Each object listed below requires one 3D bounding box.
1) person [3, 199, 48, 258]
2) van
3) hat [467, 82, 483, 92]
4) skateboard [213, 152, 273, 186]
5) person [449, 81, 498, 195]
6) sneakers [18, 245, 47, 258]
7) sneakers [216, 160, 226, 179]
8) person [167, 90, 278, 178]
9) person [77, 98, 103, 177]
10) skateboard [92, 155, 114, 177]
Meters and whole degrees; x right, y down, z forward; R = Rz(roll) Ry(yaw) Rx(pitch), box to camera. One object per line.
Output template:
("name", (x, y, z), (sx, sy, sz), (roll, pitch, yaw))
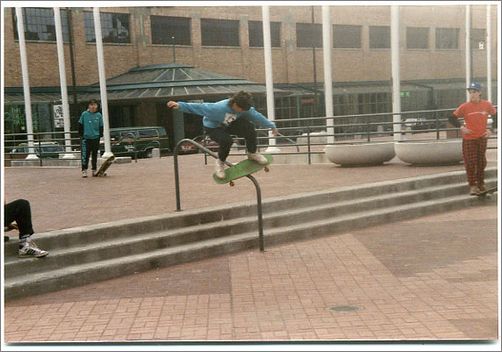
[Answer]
("person", (-3.356, 0.781, 8.841), (0.644, 0.880, 0.227), (-1, 11, 17))
("van", (-5.038, -1.639, 27.969), (3.344, 1.109, 1.519), (-1, 0, -38))
("hat", (4.747, -1.861, 12.608), (0.402, 0.159, 0.238), (-2, 4, -18))
("skateboard", (-0.023, -0.075, 10.913), (1.330, 0.161, 0.414), (-17, 37, 5))
("person", (4.693, -0.749, 12.620), (0.850, 2.357, 0.446), (-2, 11, 16))
("sneakers", (-3.218, 1.104, 8.954), (0.516, 0.177, 0.157), (1, 2, 0))
("sneakers", (-0.552, -0.129, 10.836), (0.155, 0.324, 0.284), (-5, 9, -4))
("person", (-0.465, -0.849, 11.115), (2.128, 1.291, 0.992), (-12, 20, -33))
("person", (-4.289, -0.981, 16.180), (0.693, 2.040, 0.755), (-8, 10, -17))
("skateboard", (-3.978, -0.259, 16.308), (0.380, 0.266, 1.097), (2, -17, -25))
